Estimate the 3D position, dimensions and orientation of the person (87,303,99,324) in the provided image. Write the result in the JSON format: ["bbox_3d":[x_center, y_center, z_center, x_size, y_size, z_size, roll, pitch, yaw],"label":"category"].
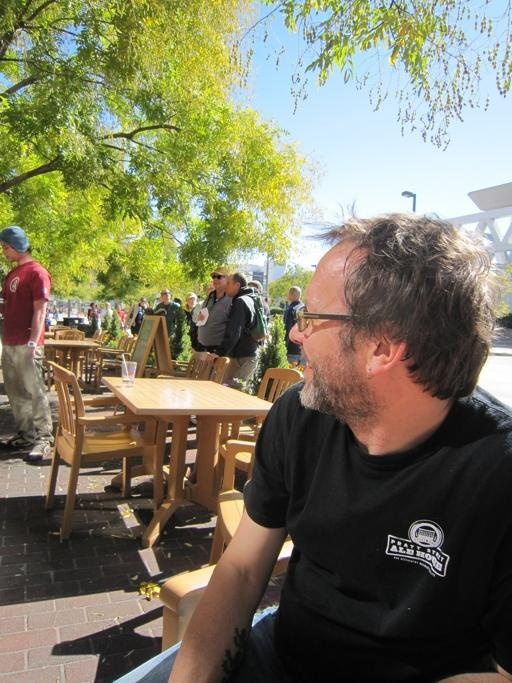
[{"bbox_3d":[-6.470,-1.135,21.201,0.322,0.735,1.238,4,2,-19],"label":"person"}]

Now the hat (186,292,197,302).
[{"bbox_3d":[-1.505,-1.044,12.465,0.237,0.146,0.295,8,-8,-2],"label":"hat"}]
